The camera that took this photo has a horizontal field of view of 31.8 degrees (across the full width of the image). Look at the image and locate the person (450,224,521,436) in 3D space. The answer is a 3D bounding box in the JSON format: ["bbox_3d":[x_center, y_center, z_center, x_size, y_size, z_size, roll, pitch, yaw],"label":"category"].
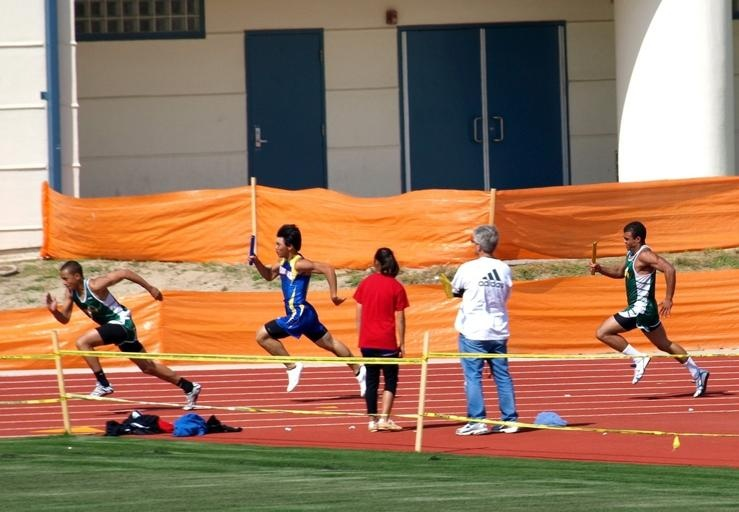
[{"bbox_3d":[1.505,0.957,16.966,0.834,2.695,0.673,-3,3,4],"label":"person"}]

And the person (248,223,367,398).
[{"bbox_3d":[-0.937,0.756,18.420,1.451,2.417,1.013,-3,3,-5],"label":"person"}]

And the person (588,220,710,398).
[{"bbox_3d":[4.010,0.754,18.444,1.556,2.474,0.746,-2,3,7],"label":"person"}]

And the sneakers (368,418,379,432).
[{"bbox_3d":[0.067,2.213,17.193,0.193,0.153,0.168,2,-4,-20],"label":"sneakers"}]

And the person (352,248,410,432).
[{"bbox_3d":[0.181,1.092,17.194,0.703,2.386,0.666,-3,3,-1],"label":"person"}]

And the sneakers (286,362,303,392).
[{"bbox_3d":[-1.081,1.775,18.892,0.262,0.446,0.184,7,18,-12],"label":"sneakers"}]

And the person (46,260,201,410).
[{"bbox_3d":[-3.478,1.057,18.191,1.728,2.010,1.061,-2,3,11],"label":"person"}]

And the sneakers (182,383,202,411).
[{"bbox_3d":[-2.495,1.938,17.966,0.235,0.437,0.159,11,47,-8],"label":"sneakers"}]

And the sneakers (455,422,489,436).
[{"bbox_3d":[1.364,2.234,16.979,0.507,0.182,0.158,0,-1,6],"label":"sneakers"}]
